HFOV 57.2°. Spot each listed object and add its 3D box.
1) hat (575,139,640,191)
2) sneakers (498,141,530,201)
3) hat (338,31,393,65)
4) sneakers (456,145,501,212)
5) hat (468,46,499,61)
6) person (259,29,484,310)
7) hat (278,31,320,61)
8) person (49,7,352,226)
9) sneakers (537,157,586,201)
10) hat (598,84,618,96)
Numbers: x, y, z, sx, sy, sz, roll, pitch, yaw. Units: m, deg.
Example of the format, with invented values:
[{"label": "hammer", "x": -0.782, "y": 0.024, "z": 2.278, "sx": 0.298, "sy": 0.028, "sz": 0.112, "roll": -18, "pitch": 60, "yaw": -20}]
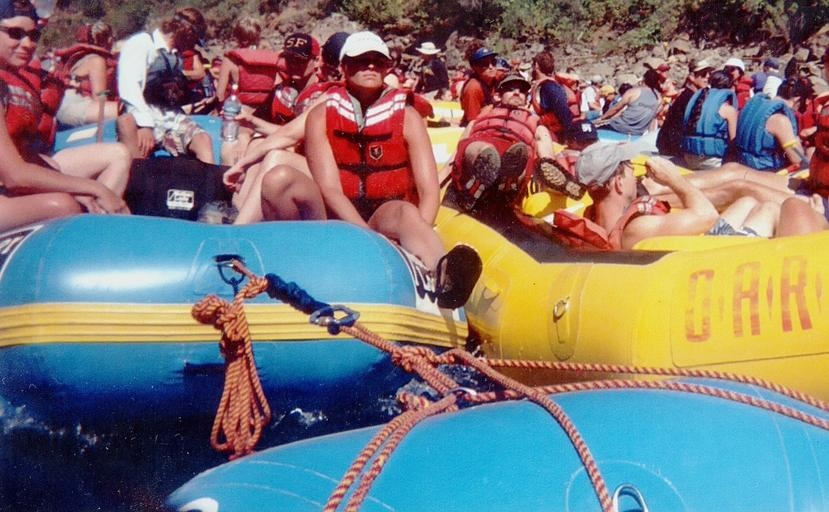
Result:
[{"label": "hat", "x": 1.333, "y": -0.707, "z": 5.375, "sx": 0.210, "sy": 0.403, "sz": 0.275, "roll": 47, "pitch": 7, "yaw": -32}, {"label": "sneakers", "x": 0.700, "y": -0.667, "z": 5.451, "sx": 0.156, "sy": 0.499, "sz": 0.196, "roll": 18, "pitch": -21, "yaw": -18}, {"label": "hat", "x": -0.331, "y": -1.342, "z": 5.020, "sx": 0.267, "sy": 0.210, "sz": 0.441, "roll": 3, "pitch": -4, "yaw": -21}, {"label": "sneakers", "x": 0.433, "y": -0.552, "z": 5.394, "sx": 0.264, "sy": 0.494, "sz": 0.203, "roll": 25, "pitch": -9, "yaw": -15}, {"label": "hat", "x": 0.672, "y": -2.039, "z": 7.791, "sx": 0.223, "sy": 0.091, "sz": 0.173, "roll": -17, "pitch": 1, "yaw": 31}, {"label": "person", "x": -0.271, "y": -0.621, "z": 4.639, "sx": 1.257, "sy": 1.156, "sz": 2.062, "roll": -8, "pitch": 27, "yaw": -25}, {"label": "hat", "x": -0.978, "y": -1.832, "z": 6.713, "sx": 0.208, "sy": 0.196, "sz": 0.332, "roll": 16, "pitch": 7, "yaw": 21}, {"label": "person", "x": -1.824, "y": -1.179, "z": 6.140, "sx": 0.828, "sy": 1.140, "sz": 2.153, "roll": 30, "pitch": 14, "yaw": 0}, {"label": "sneakers", "x": 1.085, "y": -0.595, "z": 5.720, "sx": 0.408, "sy": 0.224, "sz": 0.124, "roll": 46, "pitch": 38, "yaw": 17}, {"label": "hat", "x": 2.765, "y": -2.372, "z": 10.962, "sx": 0.204, "sy": 0.154, "sz": 0.257, "roll": 1, "pitch": 15, "yaw": 17}]
